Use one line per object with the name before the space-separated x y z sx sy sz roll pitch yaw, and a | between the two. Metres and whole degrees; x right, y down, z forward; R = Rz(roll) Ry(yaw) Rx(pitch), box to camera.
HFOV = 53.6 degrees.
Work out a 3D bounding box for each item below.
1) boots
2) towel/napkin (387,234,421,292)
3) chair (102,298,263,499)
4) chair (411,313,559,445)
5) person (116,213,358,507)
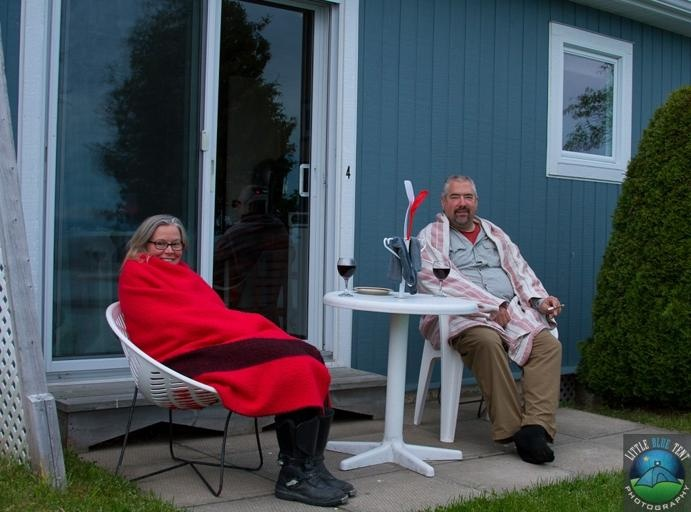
boots | -0.085 0.957 3.360 0.418 0.547 0.286 1 -2 7
towel/napkin | 0.331 0.051 3.833 0.225 0.334 0.161 2 2 -35
chair | -0.773 0.660 3.528 0.767 0.895 0.890 1 -6 -1
chair | 0.944 0.666 4.251 0.677 0.858 0.862 1 -6 5
person | -0.544 0.470 3.352 1.255 1.249 0.534 7 7 31
